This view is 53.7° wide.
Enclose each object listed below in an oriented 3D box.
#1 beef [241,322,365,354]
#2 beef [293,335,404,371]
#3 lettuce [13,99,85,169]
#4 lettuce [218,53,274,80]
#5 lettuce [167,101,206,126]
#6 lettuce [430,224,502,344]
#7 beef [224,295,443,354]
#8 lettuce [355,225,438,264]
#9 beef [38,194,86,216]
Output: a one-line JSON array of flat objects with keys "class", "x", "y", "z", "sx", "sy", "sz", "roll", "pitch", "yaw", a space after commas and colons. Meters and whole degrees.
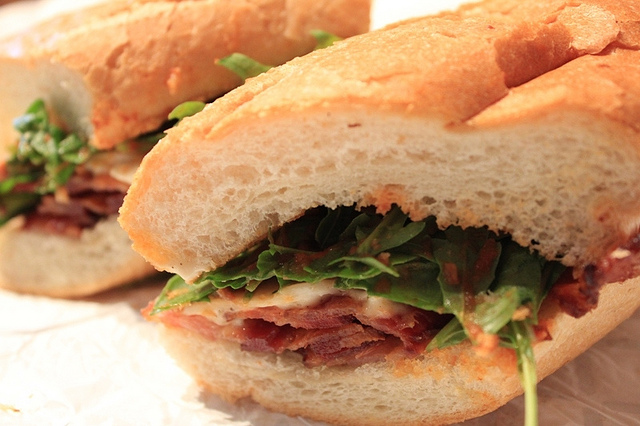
[{"class": "beef", "x": -0.100, "y": 0.663, "z": 3.440, "sx": 0.734, "sy": 0.246, "sz": 0.079, "roll": -2, "pitch": 105, "yaw": 10}, {"class": "beef", "x": 0.164, "y": 0.757, "z": 3.343, "sx": 0.353, "sy": 0.258, "sz": 0.080, "roll": -12, "pitch": 78, "yaw": 22}, {"class": "lettuce", "x": -1.871, "y": -0.499, "z": 4.574, "sx": 0.512, "sy": 0.492, "sz": 0.258, "roll": 39, "pitch": 43, "yaw": 20}, {"class": "lettuce", "x": -0.467, "y": -0.892, "z": 3.873, "sx": 0.477, "sy": 0.051, "sz": 0.133, "roll": 6, "pitch": 85, "yaw": -22}, {"class": "lettuce", "x": -0.796, "y": -0.613, "z": 3.808, "sx": 0.265, "sy": 0.256, "sz": 0.052, "roll": -6, "pitch": 77, "yaw": -27}, {"class": "lettuce", "x": 0.686, "y": 0.319, "z": 3.118, "sx": 0.309, "sy": 0.280, "sz": 0.564, "roll": 8, "pitch": 54, "yaw": 0}, {"class": "beef", "x": 0.054, "y": 0.531, "z": 3.150, "sx": 0.830, "sy": 0.582, "sz": 0.283, "roll": 9, "pitch": 106, "yaw": 37}, {"class": "lettuce", "x": 0.410, "y": 0.138, "z": 3.161, "sx": 0.276, "sy": 0.147, "sz": 0.207, "roll": -7, "pitch": 109, "yaw": -24}, {"class": "beef", "x": -1.991, "y": -0.065, "z": 4.912, "sx": 0.403, "sy": 0.035, "sz": 0.149, "roll": 0, "pitch": 96, "yaw": 25}]
